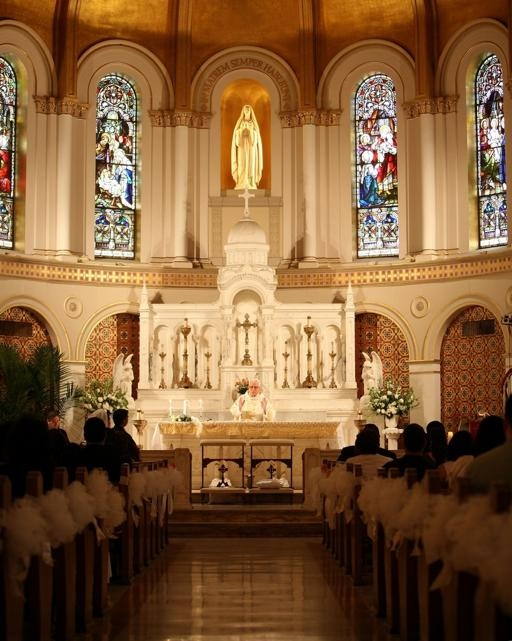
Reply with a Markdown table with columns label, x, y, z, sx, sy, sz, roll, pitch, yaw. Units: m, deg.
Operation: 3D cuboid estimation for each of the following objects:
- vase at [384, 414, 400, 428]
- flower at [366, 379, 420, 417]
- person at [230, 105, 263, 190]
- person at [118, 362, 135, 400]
| label | x | y | z | sx | sy | sz | roll | pitch | yaw |
| --- | --- | --- | --- | --- | --- | --- | --- | --- | --- |
| vase | 2.495 | 1.853 | 17.052 | 0.217 | 0.198 | 0.235 | 0 | -19 | 8 |
| flower | 2.501 | 1.427 | 17.071 | 0.665 | 0.688 | 0.695 | -6 | 10 | -5 |
| person | -0.201 | -3.585 | 19.361 | 0.604 | 1.737 | 0.452 | -1 | -4 | -5 |
| person | -2.430 | 1.095 | 17.393 | 0.251 | 0.761 | 0.509 | -1 | -4 | -9 |
